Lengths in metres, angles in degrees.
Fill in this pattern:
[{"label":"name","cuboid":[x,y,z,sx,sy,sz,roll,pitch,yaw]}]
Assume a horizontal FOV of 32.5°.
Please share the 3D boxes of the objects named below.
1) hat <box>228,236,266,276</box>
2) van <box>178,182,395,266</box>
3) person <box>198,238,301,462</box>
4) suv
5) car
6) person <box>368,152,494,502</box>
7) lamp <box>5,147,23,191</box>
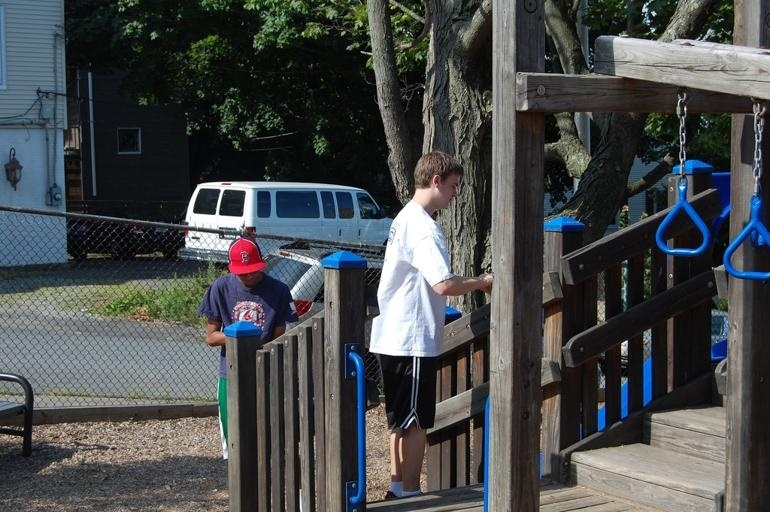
[{"label":"hat","cuboid":[-1.716,-0.007,15.995,0.403,0.359,0.619,-12,15,-14]},{"label":"van","cuboid":[-1.994,-0.823,28.391,3.461,1.799,2.020,-6,8,-34]},{"label":"person","cuboid":[-1.691,1.149,16.061,1.126,2.688,0.797,-1,7,-8]},{"label":"suv","cuboid":[-0.998,0.653,19.728,1.247,1.581,2.434,-1,5,28]},{"label":"car","cuboid":[-6.702,-0.653,33.981,2.861,1.139,6.270,-1,9,-10]},{"label":"person","cuboid":[0.350,0.865,15.545,1.069,4.128,0.622,0,7,-3]},{"label":"lamp","cuboid":[-9.075,-2.111,32.237,0.385,1.034,0.571,-1,8,-10]}]
